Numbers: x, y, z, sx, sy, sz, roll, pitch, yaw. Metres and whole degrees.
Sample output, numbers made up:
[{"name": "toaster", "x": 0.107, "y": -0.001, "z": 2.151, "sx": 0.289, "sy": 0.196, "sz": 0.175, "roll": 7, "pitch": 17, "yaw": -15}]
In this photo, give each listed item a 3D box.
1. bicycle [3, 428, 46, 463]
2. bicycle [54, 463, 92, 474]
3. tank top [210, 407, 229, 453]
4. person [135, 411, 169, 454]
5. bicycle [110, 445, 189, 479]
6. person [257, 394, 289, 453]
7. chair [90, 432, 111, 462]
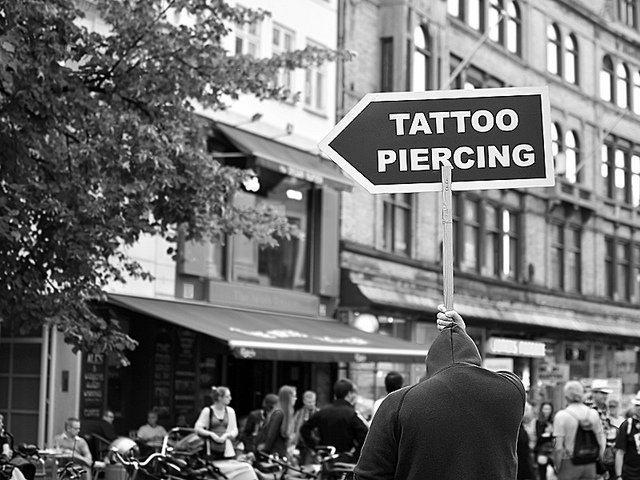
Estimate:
[{"name": "bicycle", "x": -4.713, "y": 3.347, "z": 24.931, "sx": 0.835, "sy": 0.460, "sz": 0.407, "roll": 12, "pitch": -8, "yaw": -6}, {"name": "bicycle", "x": -3.920, "y": 3.667, "z": 24.629, "sx": 0.481, "sy": 0.140, "sz": 0.367, "roll": -1, "pitch": -8, "yaw": 7}, {"name": "tank top", "x": -1.622, "y": 3.110, "z": 25.116, "sx": 0.317, "sy": 0.736, "sz": 0.265, "roll": 7, "pitch": -11, "yaw": -24}, {"name": "person", "x": -2.988, "y": 3.574, "z": 27.744, "sx": 0.625, "sy": 0.954, "sz": 0.608, "roll": 1, "pitch": -4, "yaw": -9}, {"name": "bicycle", "x": -2.708, "y": 3.476, "z": 23.960, "sx": 1.411, "sy": 0.522, "sz": 0.963, "roll": -1, "pitch": -11, "yaw": 14}, {"name": "person", "x": -0.774, "y": 3.136, "z": 26.017, "sx": 0.569, "sy": 0.981, "sz": 1.082, "roll": -3, "pitch": 1, "yaw": -1}, {"name": "chair", "x": -3.795, "y": 3.704, "z": 27.500, "sx": 0.480, "sy": 0.626, "sz": 0.468, "roll": 1, "pitch": -1, "yaw": -13}]
